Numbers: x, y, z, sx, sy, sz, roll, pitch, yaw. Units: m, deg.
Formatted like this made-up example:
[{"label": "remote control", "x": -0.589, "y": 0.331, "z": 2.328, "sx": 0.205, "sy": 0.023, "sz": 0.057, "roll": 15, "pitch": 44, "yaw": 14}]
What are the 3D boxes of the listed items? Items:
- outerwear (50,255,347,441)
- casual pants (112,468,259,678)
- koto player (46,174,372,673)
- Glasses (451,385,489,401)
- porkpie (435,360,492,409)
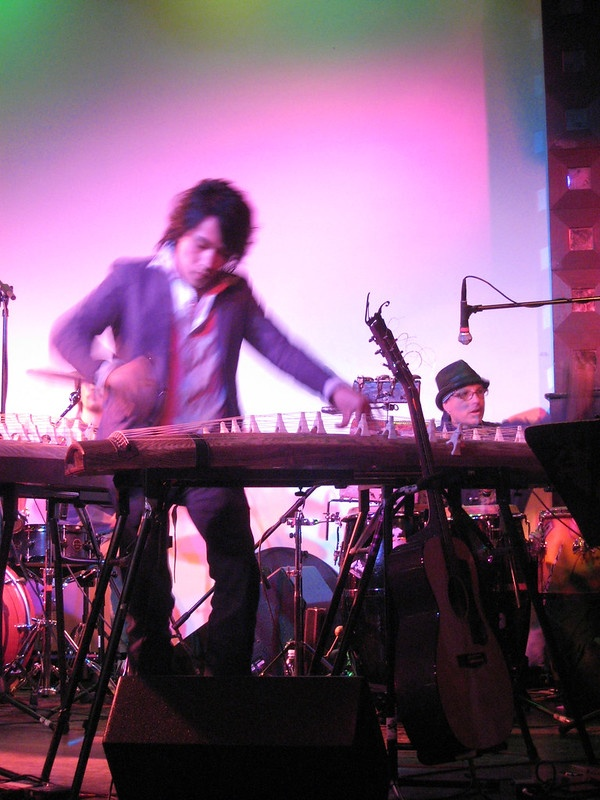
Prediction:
[{"label": "outerwear", "x": -0.481, "y": -0.242, "z": 4.096, "sx": 0.798, "sy": 1.034, "sz": 0.627, "roll": 12, "pitch": -29, "yaw": -35}, {"label": "casual pants", "x": -0.293, "y": 0.494, "z": 2.596, "sx": 0.309, "sy": 0.693, "sz": 0.185, "roll": 10, "pitch": 28, "yaw": 21}, {"label": "koto player", "x": -0.461, "y": 0.232, "z": 3.931, "sx": 1.248, "sy": 2.481, "sz": 0.813, "roll": 1, "pitch": 13, "yaw": -1}, {"label": "Glasses", "x": 0.997, "y": -0.029, "z": 4.948, "sx": 0.116, "sy": 0.039, "sz": 0.123, "roll": 0, "pitch": -13, "yaw": -16}, {"label": "porkpie", "x": 0.917, "y": -0.133, "z": 5.067, "sx": 0.259, "sy": 0.158, "sz": 0.302, "roll": -34, "pitch": -7, "yaw": -8}]
